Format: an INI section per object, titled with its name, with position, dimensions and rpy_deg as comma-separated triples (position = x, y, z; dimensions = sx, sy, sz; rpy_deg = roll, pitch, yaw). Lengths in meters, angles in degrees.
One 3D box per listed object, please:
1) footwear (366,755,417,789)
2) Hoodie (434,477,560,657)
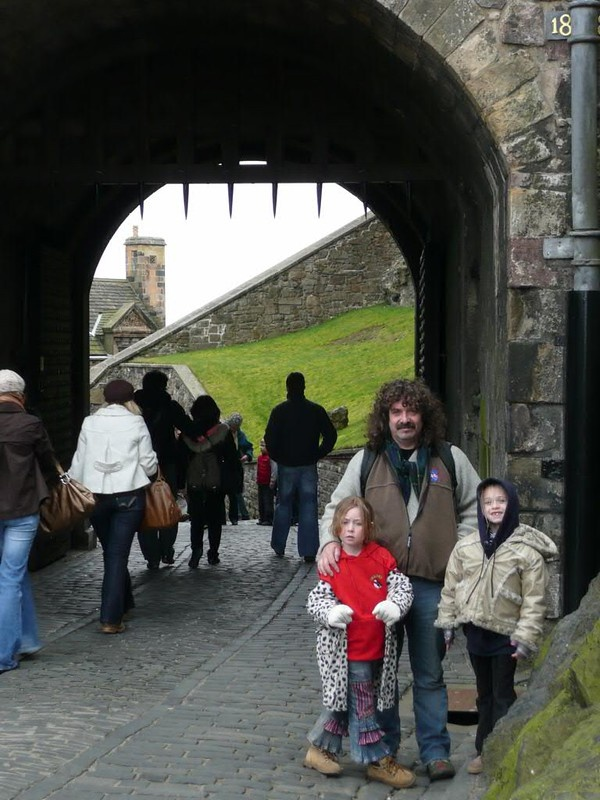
[footwear]
position = 0.338, 1.364, 3.530
dimensions = 0.185, 0.082, 0.089
rpy_deg = 2, 24, 21
[Hoodie]
position = 0.719, 0.593, 3.492
dimensions = 0.405, 0.581, 0.281
rpy_deg = 1, 5, 34
